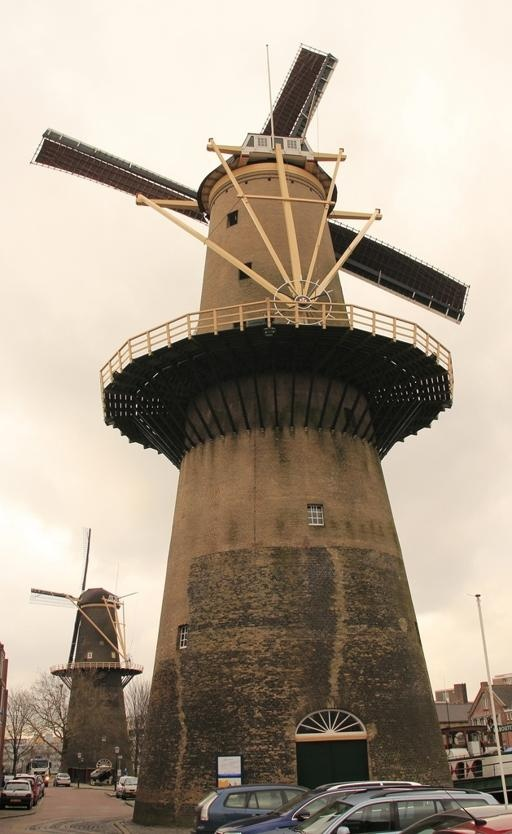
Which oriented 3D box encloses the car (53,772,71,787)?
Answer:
[{"bbox_3d":[-14.596,27.654,54.348,1.068,0.952,1.972,4,-24,-10],"label":"car"}]
